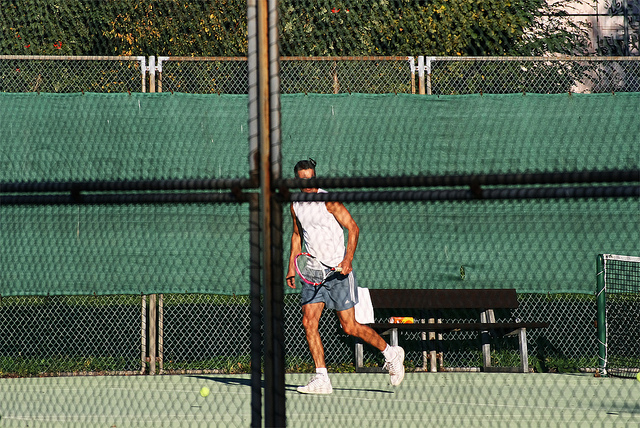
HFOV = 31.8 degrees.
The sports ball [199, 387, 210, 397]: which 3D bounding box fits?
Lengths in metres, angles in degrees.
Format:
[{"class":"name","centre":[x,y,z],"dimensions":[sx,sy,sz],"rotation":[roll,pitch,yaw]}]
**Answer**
[{"class":"sports ball","centre":[-1.526,2.346,14.829],"dimensions":[0.123,0.114,0.227],"rotation":[-2,48,-5]}]
